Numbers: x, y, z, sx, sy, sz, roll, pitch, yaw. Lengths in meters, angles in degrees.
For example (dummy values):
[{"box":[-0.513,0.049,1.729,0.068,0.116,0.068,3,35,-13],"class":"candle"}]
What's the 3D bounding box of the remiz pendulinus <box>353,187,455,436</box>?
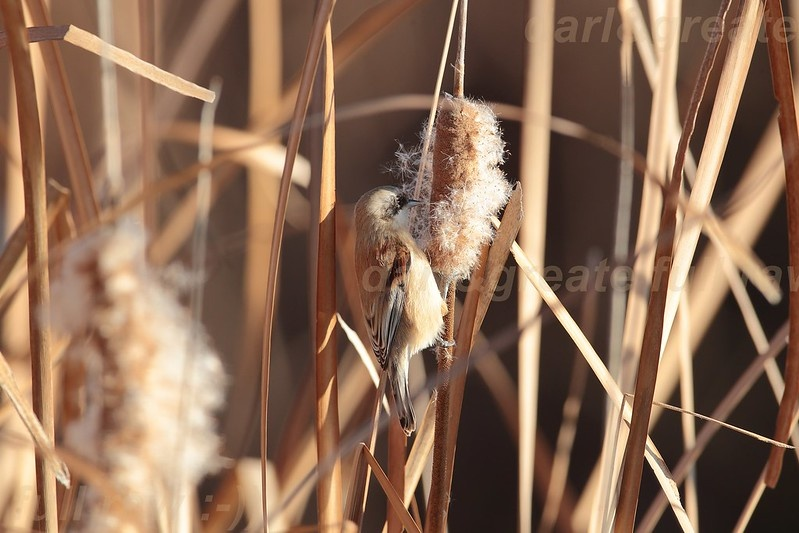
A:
[{"box":[0.005,0.105,3.254,0.243,0.413,0.503,-11,-55,14],"class":"remiz pendulinus"}]
